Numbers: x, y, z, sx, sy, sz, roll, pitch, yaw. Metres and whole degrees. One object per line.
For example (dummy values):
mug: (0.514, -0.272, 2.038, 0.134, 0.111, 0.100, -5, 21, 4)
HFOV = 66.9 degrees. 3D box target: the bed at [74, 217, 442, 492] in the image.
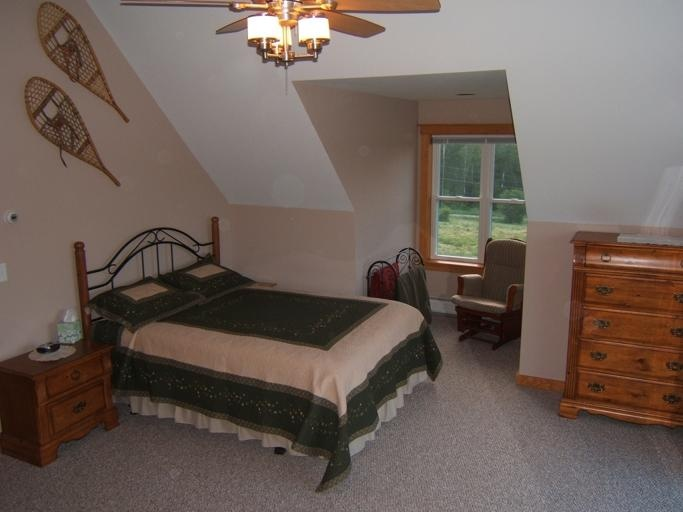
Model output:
bed: (-0.814, 0.607, 4.550, 2.641, 1.583, 1.553, 5, 16, 27)

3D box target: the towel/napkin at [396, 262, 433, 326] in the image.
towel/napkin: (0.799, 0.420, 5.776, 0.110, 0.594, 0.684, -4, 4, 31)
